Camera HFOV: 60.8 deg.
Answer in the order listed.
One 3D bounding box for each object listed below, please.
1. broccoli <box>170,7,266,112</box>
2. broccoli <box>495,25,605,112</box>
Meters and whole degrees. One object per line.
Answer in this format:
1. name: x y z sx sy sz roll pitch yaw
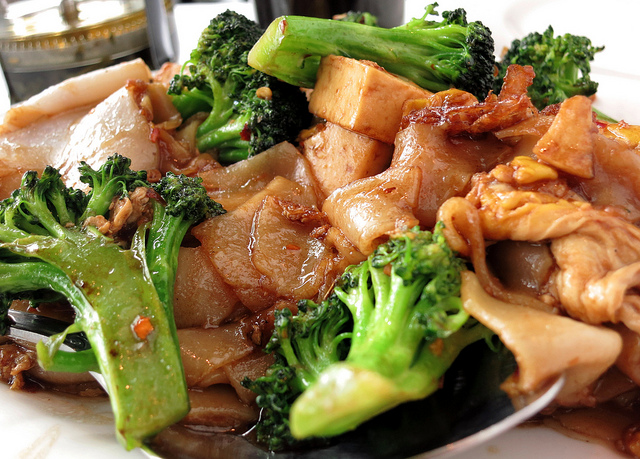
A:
1. broccoli: -0.433 -0.764 2.502 0.454 0.351 0.223 -32 -1 10
2. broccoli: 1.146 -0.754 2.843 0.483 0.465 0.503 -8 12 -43
